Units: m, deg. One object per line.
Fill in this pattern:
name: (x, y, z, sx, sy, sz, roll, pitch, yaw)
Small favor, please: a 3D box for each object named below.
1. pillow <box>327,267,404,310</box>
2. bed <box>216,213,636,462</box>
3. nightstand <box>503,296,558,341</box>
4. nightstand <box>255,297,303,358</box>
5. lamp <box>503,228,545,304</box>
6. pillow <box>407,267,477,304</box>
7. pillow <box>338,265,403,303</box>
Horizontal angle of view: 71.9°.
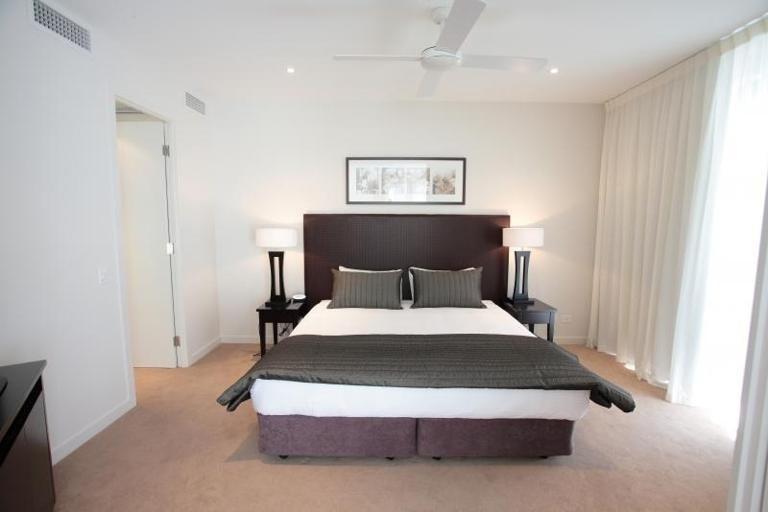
pillow: (-0.196, 0.373, 5.965, 0.709, 0.455, 0.197, 0, -16, 5)
bed: (0.352, 1.098, 5.728, 2.885, 1.547, 2.662, 0, 8, 1)
nightstand: (1.712, 0.600, 6.224, 0.456, 0.596, 0.628, -2, 8, -1)
nightstand: (-1.250, 0.740, 6.464, 0.573, 0.758, 0.790, -1, 7, -3)
lamp: (1.679, 0.106, 6.278, 0.485, 0.892, 0.489, 5, -1, 2)
pillow: (0.740, 0.371, 6.117, 0.863, 0.498, 0.255, 0, -7, 1)
pillow: (-0.194, 0.374, 6.045, 0.588, 0.388, 0.165, 1, -17, 5)
